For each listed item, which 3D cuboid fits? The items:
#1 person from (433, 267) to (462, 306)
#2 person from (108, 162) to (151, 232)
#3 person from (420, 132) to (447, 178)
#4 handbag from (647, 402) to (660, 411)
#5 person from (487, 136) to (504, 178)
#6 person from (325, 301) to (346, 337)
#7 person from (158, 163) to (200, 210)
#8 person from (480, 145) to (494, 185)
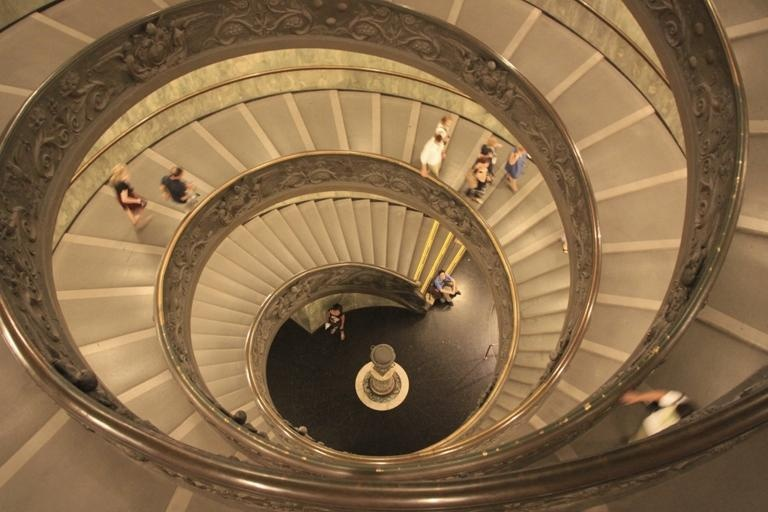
[{"bbox_3d":[1.543,0.790,14.745,0.467,0.355,0.777,28,-5,9],"label":"person"},{"bbox_3d":[-4.457,-1.011,10.623,0.485,0.532,1.255,25,-47,33],"label":"person"},{"bbox_3d":[0.999,-1.915,11.655,0.371,0.283,0.856,-5,-44,-7],"label":"person"},{"bbox_3d":[2.580,1.444,5.753,0.079,0.081,0.060,23,3,23],"label":"handbag"},{"bbox_3d":[2.149,-1.879,11.596,0.257,0.313,0.873,14,4,16],"label":"person"},{"bbox_3d":[-1.205,1.577,14.703,0.346,0.462,0.827,27,-19,7],"label":"person"},{"bbox_3d":[-3.745,-1.231,10.967,0.437,0.778,0.363,-41,-73,-1],"label":"person"},{"bbox_3d":[1.939,-1.725,11.328,0.255,0.225,0.708,-53,-23,-2],"label":"person"}]
